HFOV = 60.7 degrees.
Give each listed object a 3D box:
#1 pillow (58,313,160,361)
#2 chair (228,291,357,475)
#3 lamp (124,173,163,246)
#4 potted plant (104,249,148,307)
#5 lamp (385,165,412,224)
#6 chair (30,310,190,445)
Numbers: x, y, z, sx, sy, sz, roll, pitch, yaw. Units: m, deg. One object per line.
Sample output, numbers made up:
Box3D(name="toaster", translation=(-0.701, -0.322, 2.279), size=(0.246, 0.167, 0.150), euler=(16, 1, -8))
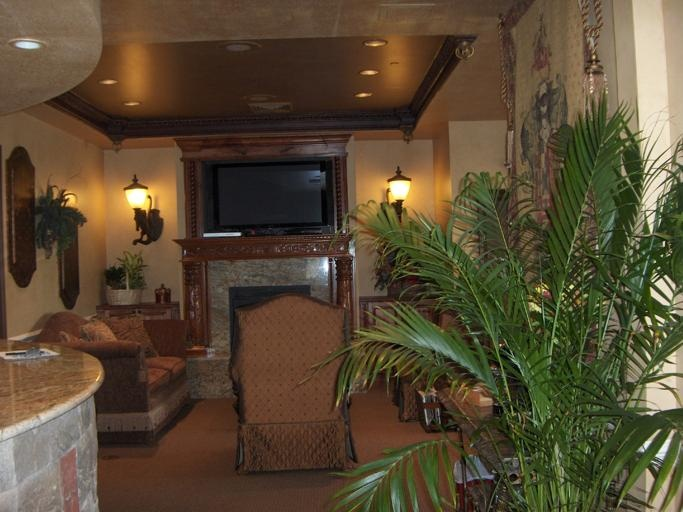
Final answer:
Box3D(name="pillow", translation=(-2.304, 0.781, 6.026), size=(0.631, 0.186, 0.596), euler=(11, 0, -19))
Box3D(name="chair", translation=(-0.402, 0.926, 4.853), size=(1.286, 1.695, 1.122), euler=(0, 7, -3))
Box3D(name="lamp", translation=(-2.661, -0.620, 7.899), size=(0.425, 0.972, 0.417), euler=(-2, 2, -2))
Box3D(name="potted plant", translation=(-2.925, 0.305, 7.878), size=(0.459, 0.710, 0.435), euler=(-2, 2, 6))
Box3D(name="lamp", translation=(0.760, -0.869, 7.912), size=(0.349, 0.746, 0.600), euler=(-2, 2, 6))
Box3D(name="chair", translation=(-2.216, 1.136, 5.804), size=(1.064, 1.193, 1.804), euler=(-6, 0, -8))
